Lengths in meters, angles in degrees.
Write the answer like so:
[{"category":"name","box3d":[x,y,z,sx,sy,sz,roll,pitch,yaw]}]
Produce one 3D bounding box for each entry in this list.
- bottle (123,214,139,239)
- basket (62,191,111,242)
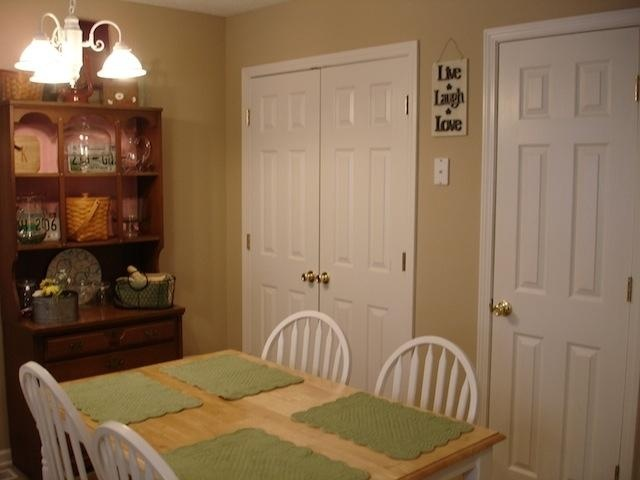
[{"category":"bottle","box3d":[-1.375,-0.098,3.646,0.129,0.222,0.141,-1,5,0]},{"category":"basket","box3d":[-1.558,-0.138,3.381,0.257,0.325,0.307,-1,0,-40]}]
